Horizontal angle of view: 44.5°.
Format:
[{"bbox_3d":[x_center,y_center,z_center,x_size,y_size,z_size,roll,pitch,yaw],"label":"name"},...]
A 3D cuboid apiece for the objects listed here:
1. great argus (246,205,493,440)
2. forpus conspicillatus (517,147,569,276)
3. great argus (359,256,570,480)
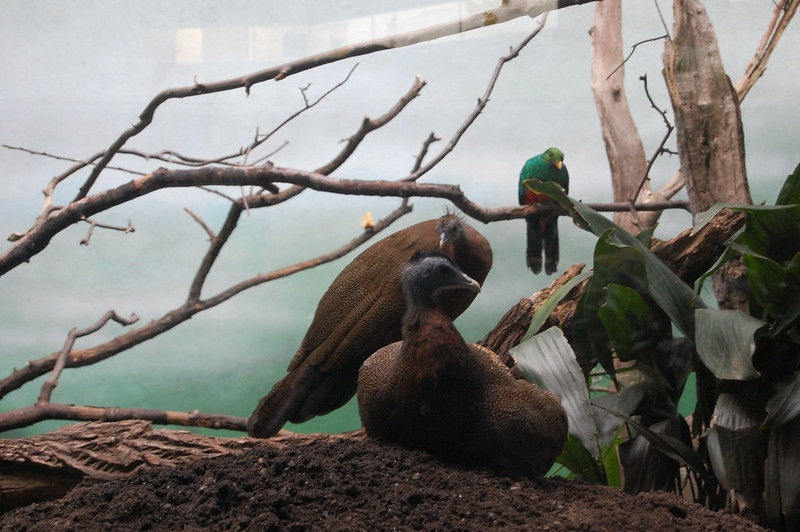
[{"bbox_3d":[-0.186,0.326,5.197,1.264,1.140,0.571,2,-6,-19],"label":"great argus"},{"bbox_3d":[0.846,-0.302,5.677,0.297,0.715,0.369,5,-4,-18],"label":"forpus conspicillatus"},{"bbox_3d":[0.286,0.448,4.485,0.960,0.999,0.303,0,0,0],"label":"great argus"}]
